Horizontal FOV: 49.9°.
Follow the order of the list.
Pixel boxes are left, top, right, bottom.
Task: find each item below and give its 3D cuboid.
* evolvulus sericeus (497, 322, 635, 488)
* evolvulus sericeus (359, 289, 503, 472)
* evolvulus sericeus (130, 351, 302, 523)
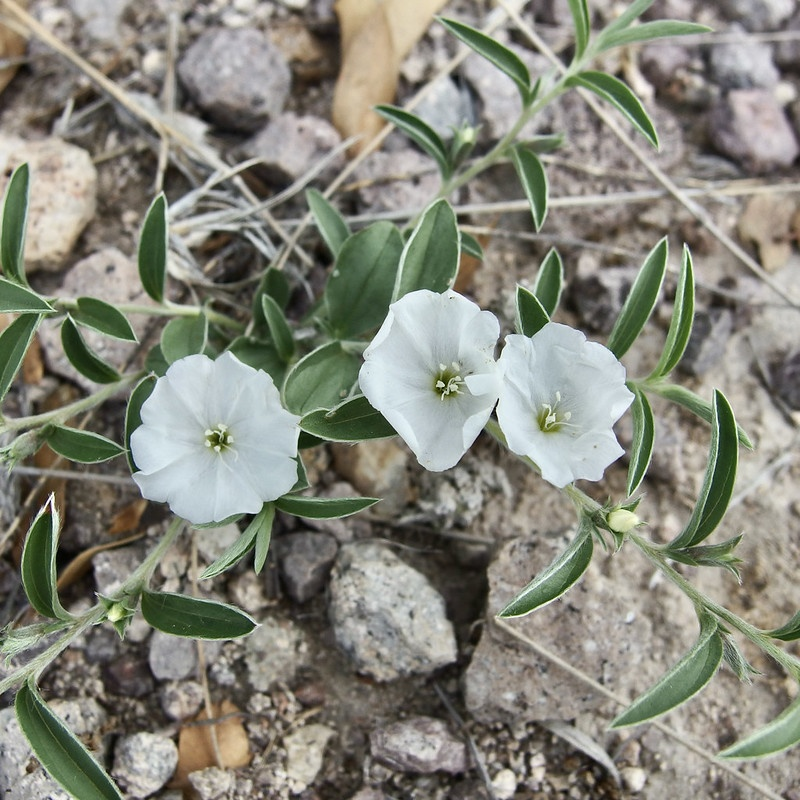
[{"bbox_3d":[0.369,-0.012,2.111,0.340,0.349,0.183,44,44,-31],"label":"evolvulus sericeus"},{"bbox_3d":[0.078,-0.053,2.013,0.318,0.209,0.355,32,66,7],"label":"evolvulus sericeus"},{"bbox_3d":[-0.431,0.115,2.053,0.384,0.157,0.402,44,67,-12],"label":"evolvulus sericeus"}]
